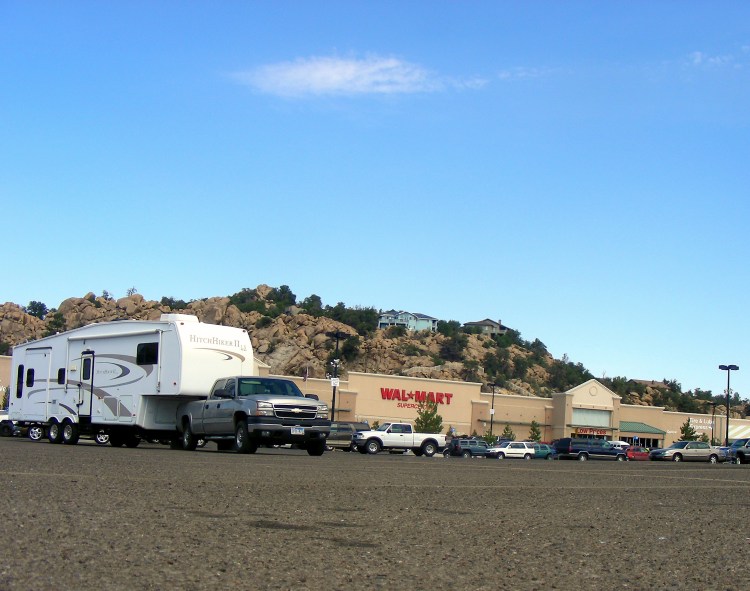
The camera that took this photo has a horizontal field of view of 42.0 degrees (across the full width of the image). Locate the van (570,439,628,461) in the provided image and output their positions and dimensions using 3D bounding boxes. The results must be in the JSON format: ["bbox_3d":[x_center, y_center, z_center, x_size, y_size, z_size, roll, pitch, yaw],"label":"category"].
[{"bbox_3d":[13.133,9.064,56.973,3.032,1.134,1.414,-2,-2,7],"label":"van"}]

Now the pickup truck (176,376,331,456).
[{"bbox_3d":[-3.207,3.248,26.618,3.701,2.070,2.394,-5,-12,45],"label":"pickup truck"}]

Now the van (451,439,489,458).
[{"bbox_3d":[5.361,8.594,54.500,1.784,0.802,1.083,-4,3,-13],"label":"van"}]

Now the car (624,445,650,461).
[{"bbox_3d":[16.806,10.021,62.021,1.343,0.833,4.577,0,-8,16],"label":"car"}]

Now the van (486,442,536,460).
[{"bbox_3d":[8.072,8.945,56.667,1.354,0.937,4.569,-3,-10,36],"label":"van"}]

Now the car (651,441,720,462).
[{"bbox_3d":[17.924,8.797,55.112,3.762,1.107,2.510,6,-9,-24],"label":"car"}]

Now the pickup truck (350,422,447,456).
[{"bbox_3d":[1.336,7.106,47.723,3.605,1.321,2.005,3,-9,-3],"label":"pickup truck"}]

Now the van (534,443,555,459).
[{"bbox_3d":[10.700,9.737,61.191,0.977,0.881,3.067,-1,-9,22],"label":"van"}]
